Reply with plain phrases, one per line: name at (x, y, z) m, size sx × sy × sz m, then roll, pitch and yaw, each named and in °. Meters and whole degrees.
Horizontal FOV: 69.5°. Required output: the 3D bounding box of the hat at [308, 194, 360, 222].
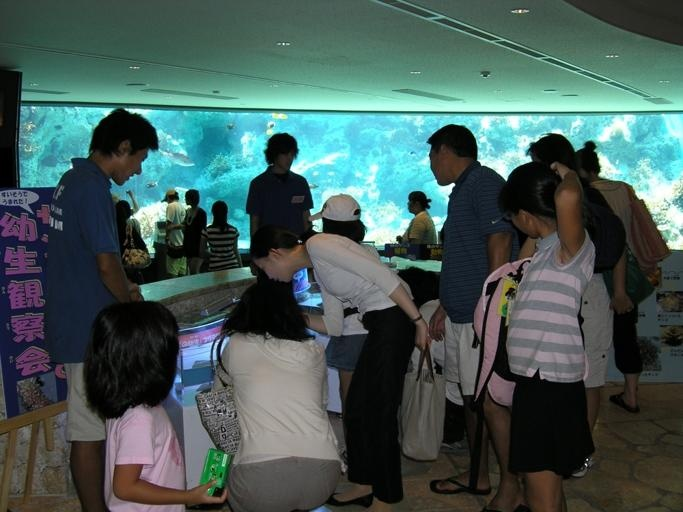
hat at (-0.001, -0.265, 2.743) m, size 0.197 × 0.109 × 0.139 m, roll 0°, pitch 9°, yaw 3°

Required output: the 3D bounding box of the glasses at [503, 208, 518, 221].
glasses at (0.831, -0.206, 2.412) m, size 0.056 × 0.045 × 0.079 m, roll 3°, pitch 5°, yaw -13°

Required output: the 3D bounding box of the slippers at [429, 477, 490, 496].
slippers at (0.723, 1.391, 2.967) m, size 0.324 × 0.083 × 0.130 m, roll 4°, pitch 3°, yaw 9°

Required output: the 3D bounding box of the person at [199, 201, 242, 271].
person at (-1.632, -0.215, 6.623) m, size 0.512 × 1.007 × 1.179 m, roll -3°, pitch 10°, yaw -15°

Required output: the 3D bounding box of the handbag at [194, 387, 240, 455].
handbag at (-0.588, 0.796, 2.365) m, size 0.246 × 0.328 × 0.084 m, roll -11°, pitch 9°, yaw 2°

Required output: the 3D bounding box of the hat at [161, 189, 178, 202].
hat at (-3.700, -1.291, 10.718) m, size 0.273 × 0.219 × 0.378 m, roll -13°, pitch 7°, yaw -44°

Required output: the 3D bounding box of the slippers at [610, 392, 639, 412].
slippers at (2.351, 1.210, 4.095) m, size 0.085 × 0.094 × 0.237 m, roll -2°, pitch 3°, yaw -12°

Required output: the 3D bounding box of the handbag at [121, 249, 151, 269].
handbag at (-2.267, 0.037, 5.462) m, size 0.251 × 0.132 × 0.326 m, roll 2°, pitch 6°, yaw -10°

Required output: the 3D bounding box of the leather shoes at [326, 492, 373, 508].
leather shoes at (0.048, 1.427, 2.929) m, size 0.264 × 0.105 × 0.090 m, roll 4°, pitch -9°, yaw 5°
